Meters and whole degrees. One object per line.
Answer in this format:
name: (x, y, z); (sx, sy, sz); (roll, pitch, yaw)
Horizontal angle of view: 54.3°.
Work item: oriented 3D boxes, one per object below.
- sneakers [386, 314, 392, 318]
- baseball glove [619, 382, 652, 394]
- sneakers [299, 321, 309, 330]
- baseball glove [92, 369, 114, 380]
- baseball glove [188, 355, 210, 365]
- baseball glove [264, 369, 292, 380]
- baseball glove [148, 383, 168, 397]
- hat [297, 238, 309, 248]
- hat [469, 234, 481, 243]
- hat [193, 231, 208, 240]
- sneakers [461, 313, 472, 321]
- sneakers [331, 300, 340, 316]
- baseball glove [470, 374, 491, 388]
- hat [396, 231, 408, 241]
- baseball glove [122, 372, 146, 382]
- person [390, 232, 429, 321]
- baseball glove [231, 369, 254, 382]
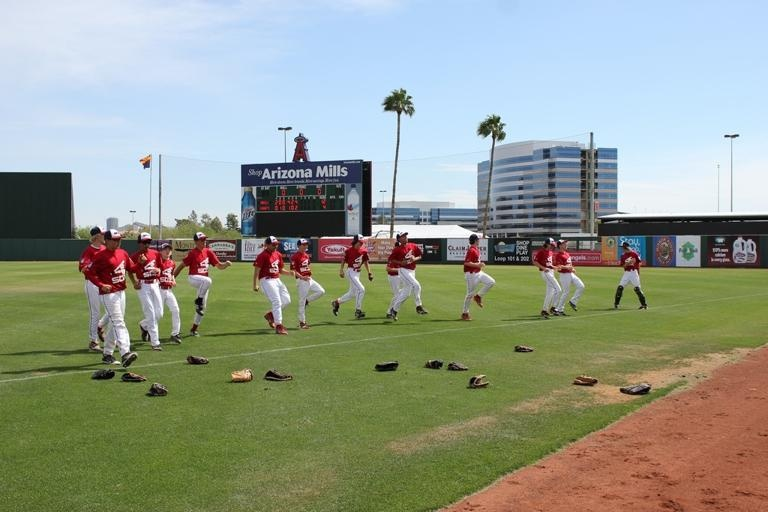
sneakers: (0.149, 1.623, 20.386); (0.163, 0.140, 0.115); (0, 5, 36)
baseball glove: (4.583, 2.393, 13.630); (0.482, 0.121, 0.721); (1, 3, 31)
sneakers: (-2.038, 1.719, 19.031); (0.229, 0.180, 0.433); (-1, 3, -6)
baseball glove: (-5.251, 2.193, 13.958); (0.386, 0.175, 0.209); (-1, 3, -7)
baseball glove: (-3.740, 2.080, 15.078); (0.414, 0.154, 0.323); (-1, 3, -15)
baseball glove: (-1.992, 2.212, 14.027); (0.364, 0.117, 0.233); (-1, -2, 9)
baseball glove: (-3.991, 2.341, 13.166); (0.297, 0.109, 0.210); (-4, -1, 39)
hat: (-2.037, -0.351, 18.668); (0.262, 0.121, 0.170); (-6, -1, 44)
hat: (2.366, -0.443, 19.630); (0.218, 0.137, 0.287); (4, 25, 17)
hat: (-4.225, -0.458, 17.075); (0.283, 0.139, 0.197); (-2, 2, 35)
sneakers: (2.243, 1.615, 20.490); (0.252, 0.214, 0.475); (0, 3, 4)
sneakers: (-1.353, 1.471, 20.550); (0.300, 0.494, 0.200); (-3, 11, 5)
baseball glove: (1.736, 2.299, 13.740); (0.314, 0.116, 0.220); (-10, 8, -38)
hat: (0.449, -0.559, 20.216); (0.320, 0.150, 0.197); (-24, -6, 30)
baseball glove: (-4.638, 2.253, 13.883); (0.302, 0.102, 0.219); (4, -2, 3)
person: (0.641, 0.530, 20.675); (0.921, 2.355, 1.326); (0, 3, 5)
baseball glove: (-2.643, 2.226, 13.961); (0.323, 0.112, 0.224); (-1, 4, -22)
